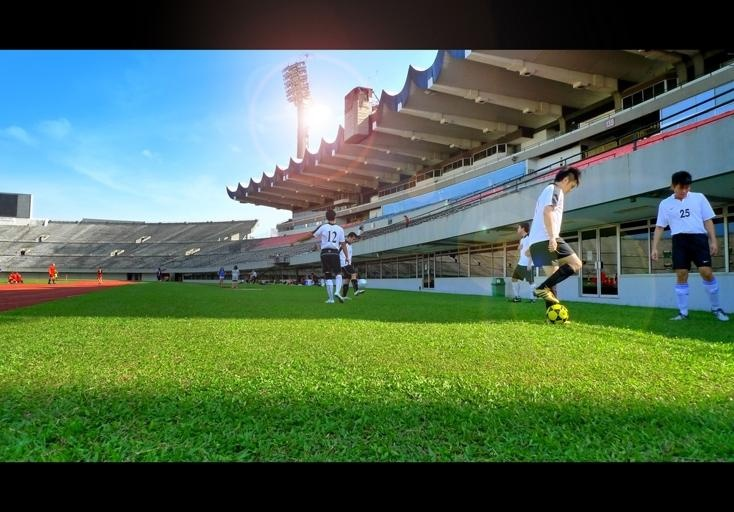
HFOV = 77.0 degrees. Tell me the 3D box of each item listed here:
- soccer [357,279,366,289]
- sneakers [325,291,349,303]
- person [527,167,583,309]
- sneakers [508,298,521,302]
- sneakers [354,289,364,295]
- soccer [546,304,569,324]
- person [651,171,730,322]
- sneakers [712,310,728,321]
[{"bbox_3d":[-0.259,2.122,34.556,0.787,0.659,0.765,-4,-5,23],"label":"soccer"},{"bbox_3d":[-0.710,1.007,10.731,0.539,0.173,0.229,-13,18,38],"label":"sneakers"},{"bbox_3d":[2.638,-0.254,6.391,0.607,1.957,0.534,0,-5,5],"label":"person"},{"bbox_3d":[4.015,1.197,12.401,0.249,0.117,0.348,2,2,8],"label":"sneakers"},{"bbox_3d":[-0.259,1.107,13.688,0.352,0.143,0.121,-25,-2,36],"label":"sneakers"},{"bbox_3d":[2.683,0.822,6.465,0.259,0.270,0.254,-20,32,-34],"label":"soccer"},{"bbox_3d":[4.680,-0.178,6.689,0.821,2.218,0.706,-3,-6,37],"label":"person"},{"bbox_3d":[5.141,0.862,6.634,0.144,0.090,0.245,-1,-4,6],"label":"sneakers"}]
